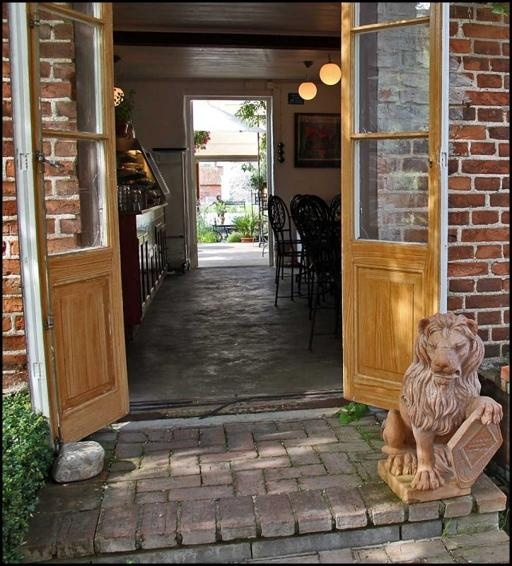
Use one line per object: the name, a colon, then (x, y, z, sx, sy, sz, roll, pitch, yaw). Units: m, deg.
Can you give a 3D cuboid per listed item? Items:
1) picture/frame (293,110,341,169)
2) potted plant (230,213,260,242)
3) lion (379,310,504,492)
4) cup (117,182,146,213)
picture/frame: (1.056, -2.507, 8.660, 0.794, 0.935, 0.051, -2, 7, -12)
potted plant: (-0.226, -1.556, 13.683, 1.006, 0.909, 0.787, -1, 1, -7)
lion: (0.643, 0.407, 1.749, 0.246, 0.629, 0.363, -3, 7, -16)
cup: (-1.138, -0.750, 4.446, 0.206, 0.254, 0.433, -3, 7, -15)
